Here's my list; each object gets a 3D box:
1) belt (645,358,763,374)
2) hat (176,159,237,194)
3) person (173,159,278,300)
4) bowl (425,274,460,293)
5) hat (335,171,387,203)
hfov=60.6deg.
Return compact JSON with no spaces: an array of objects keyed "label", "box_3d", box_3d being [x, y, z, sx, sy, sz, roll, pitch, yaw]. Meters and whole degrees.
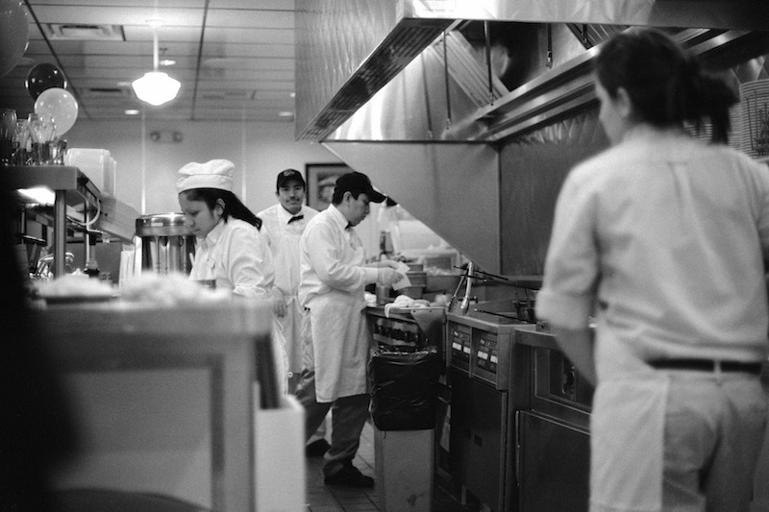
[{"label":"belt","box_3d":[0.769,0.262,1.556,0.290,0.049,0.042,0,3,-7]},{"label":"hat","box_3d":[-0.924,-0.420,3.428,0.313,0.157,0.239,-3,15,7]},{"label":"person","box_3d":[-0.822,-0.136,3.358,0.482,0.727,0.588,0,3,-8]},{"label":"bowl","box_3d":[0.409,0.198,4.713,0.277,0.130,0.082,-2,3,-34]},{"label":"hat","box_3d":[-0.164,-0.439,4.125,0.336,0.180,0.202,4,5,-8]}]
